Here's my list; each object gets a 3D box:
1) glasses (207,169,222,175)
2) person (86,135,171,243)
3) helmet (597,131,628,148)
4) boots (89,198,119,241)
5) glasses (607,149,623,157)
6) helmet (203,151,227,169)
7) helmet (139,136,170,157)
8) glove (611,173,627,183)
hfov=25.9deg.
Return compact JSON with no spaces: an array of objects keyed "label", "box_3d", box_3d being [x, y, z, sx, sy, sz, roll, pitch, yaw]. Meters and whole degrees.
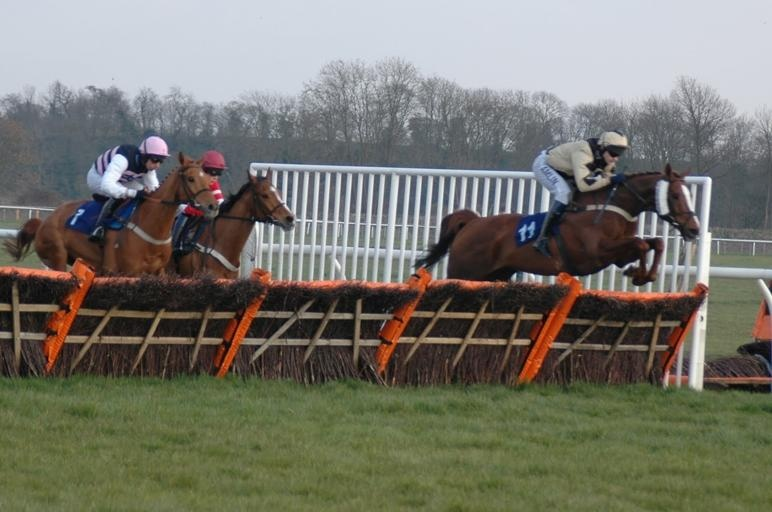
[{"label":"glasses","box_3d":[-2.676,-1.283,25.945,0.141,0.057,0.110,6,1,42]},{"label":"person","box_3d":[-4.006,-1.034,25.554,1.253,1.710,0.873,19,17,21]},{"label":"helmet","box_3d":[3.364,-1.745,25.121,0.364,0.166,0.253,2,4,21]},{"label":"boots","box_3d":[-4.207,-0.533,25.225,0.231,0.810,0.241,16,-23,24]},{"label":"glasses","box_3d":[3.434,-1.533,25.108,0.170,0.109,0.217,5,0,40]},{"label":"helmet","box_3d":[-2.672,-1.481,25.979,0.351,0.180,0.254,5,6,29]},{"label":"helmet","box_3d":[-3.516,-1.654,25.461,0.405,0.196,0.285,0,0,32]},{"label":"glove","box_3d":[3.423,-1.129,24.873,0.200,0.148,0.083,5,-1,9]}]
